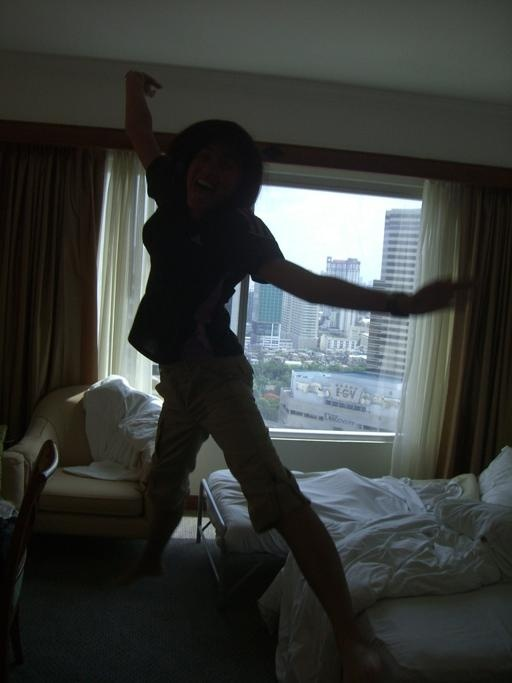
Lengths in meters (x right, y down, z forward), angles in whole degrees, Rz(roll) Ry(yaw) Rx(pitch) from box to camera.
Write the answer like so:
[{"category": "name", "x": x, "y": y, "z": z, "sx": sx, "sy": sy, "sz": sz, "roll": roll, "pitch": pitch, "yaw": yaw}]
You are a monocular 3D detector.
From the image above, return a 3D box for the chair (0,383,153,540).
[{"category": "chair", "x": -0.480, "y": 0.299, "z": 1.598, "sx": 0.402, "sy": 0.496, "sz": 0.471, "roll": 4, "pitch": -2, "yaw": -4}]

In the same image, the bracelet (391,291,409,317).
[{"category": "bracelet", "x": 0.110, "y": -0.028, "z": 0.409, "sx": 0.004, "sy": 0.014, "sz": 0.017, "roll": 1, "pitch": 3, "yaw": -11}]
